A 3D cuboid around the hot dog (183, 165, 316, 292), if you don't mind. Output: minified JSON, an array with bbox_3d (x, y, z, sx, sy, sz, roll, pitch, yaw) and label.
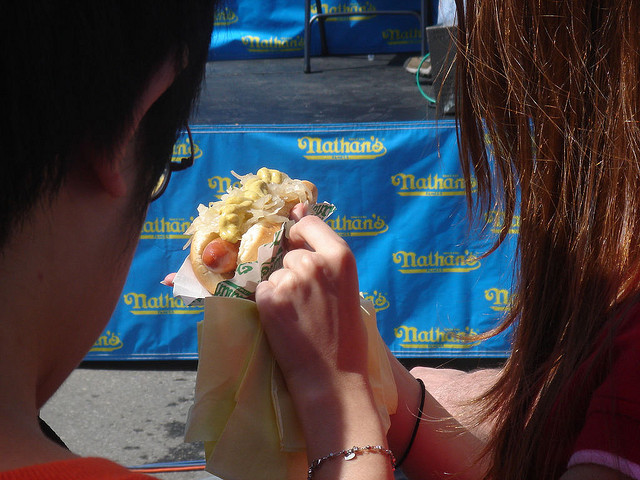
[{"bbox_3d":[-0.200,-0.045,2.523,0.318,0.273,0.643,6,28,20],"label":"hot dog"}]

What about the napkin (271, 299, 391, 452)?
[{"bbox_3d":[-0.015,0.356,1.844,0.216,0.384,0.099,4,-15,-22],"label":"napkin"}]
